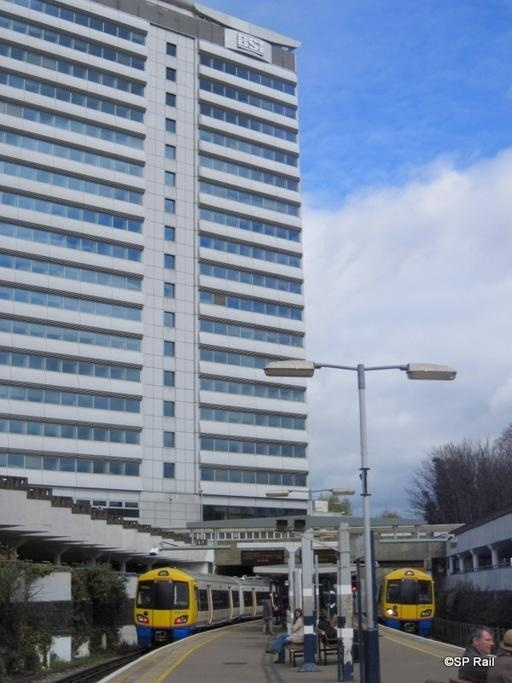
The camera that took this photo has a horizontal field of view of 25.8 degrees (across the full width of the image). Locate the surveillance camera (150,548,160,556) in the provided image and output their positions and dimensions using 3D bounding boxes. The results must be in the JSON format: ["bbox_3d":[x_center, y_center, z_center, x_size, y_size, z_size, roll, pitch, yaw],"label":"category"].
[{"bbox_3d":[-5.656,11.811,62.326,0.310,0.390,0.948,19,-8,-6],"label":"surveillance camera"}]

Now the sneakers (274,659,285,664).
[{"bbox_3d":[0.731,10.013,34.778,0.304,0.197,0.114,3,-19,6],"label":"sneakers"}]
